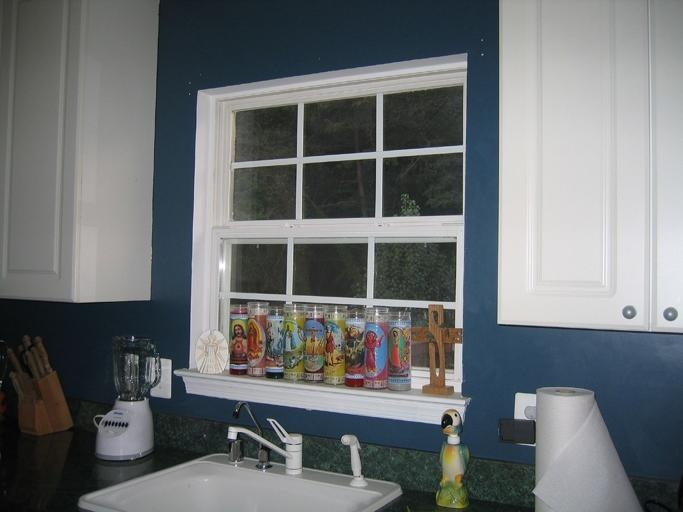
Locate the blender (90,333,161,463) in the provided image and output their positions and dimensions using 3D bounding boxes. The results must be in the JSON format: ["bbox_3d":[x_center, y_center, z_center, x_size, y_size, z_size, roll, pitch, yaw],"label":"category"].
[{"bbox_3d":[-0.845,0.540,2.347,0.234,0.420,0.327,0,5,-2],"label":"blender"}]

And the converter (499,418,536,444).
[{"bbox_3d":[0.557,0.565,1.916,0.110,0.082,0.028,2,5,21],"label":"converter"}]

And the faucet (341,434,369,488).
[{"bbox_3d":[0.043,0.667,2.004,0.080,0.181,0.148,0,5,2],"label":"faucet"}]

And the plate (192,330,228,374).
[{"bbox_3d":[-0.507,0.378,2.311,0.146,0.210,0.014,0,-2,13],"label":"plate"}]
